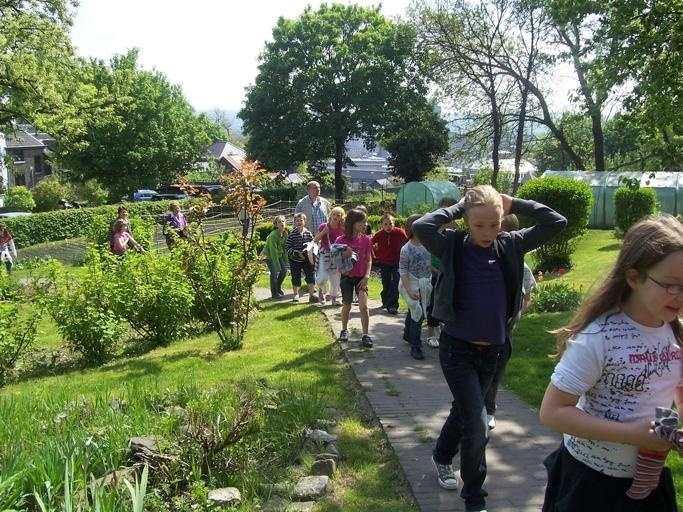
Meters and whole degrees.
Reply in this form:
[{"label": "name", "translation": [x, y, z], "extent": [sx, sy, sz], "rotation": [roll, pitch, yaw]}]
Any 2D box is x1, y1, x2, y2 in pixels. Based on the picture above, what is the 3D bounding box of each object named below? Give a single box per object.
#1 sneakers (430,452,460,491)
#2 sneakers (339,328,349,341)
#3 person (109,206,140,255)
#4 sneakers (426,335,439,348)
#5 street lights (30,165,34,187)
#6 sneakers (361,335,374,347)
[{"label": "sneakers", "translation": [0.851, 1.786, 5.145], "extent": [0.108, 0.146, 0.343], "rotation": [-1, 0, -10]}, {"label": "sneakers", "translation": [0.041, 1.178, 9.398], "extent": [0.137, 0.180, 0.397], "rotation": [0, -4, 0]}, {"label": "person", "translation": [-4.983, -0.493, 14.187], "extent": [0.450, 1.147, 0.345], "rotation": [21, 18, 3]}, {"label": "sneakers", "translation": [1.308, 1.207, 8.899], "extent": [0.128, 0.169, 0.363], "rotation": [-1, -3, -19]}, {"label": "street lights", "translation": [-29.464, -7.554, 59.276], "extent": [0.367, 1.875, 0.407], "rotation": [3, 8, 10]}, {"label": "sneakers", "translation": [0.365, 1.226, 9.037], "extent": [0.114, 0.153, 0.332], "rotation": [-2, -6, -3]}]
